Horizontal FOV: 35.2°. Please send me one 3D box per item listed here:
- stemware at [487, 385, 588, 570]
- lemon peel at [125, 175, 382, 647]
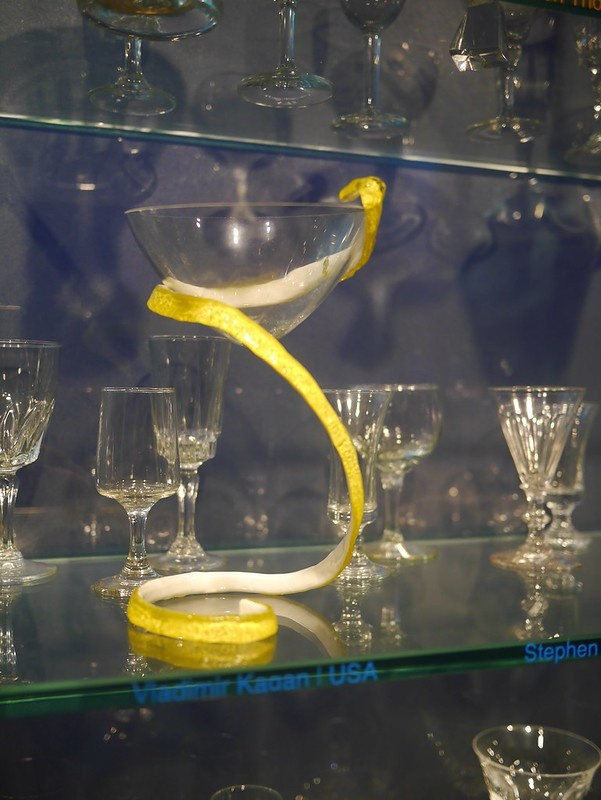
[{"bbox_3d":[0.250,0.074,1.001,0.090,0.179,0.197,2,7,15],"label":"stemware"},{"bbox_3d":[-0.042,0.004,0.789,0.245,0.343,0.206,2,-4,6],"label":"lemon peel"}]
